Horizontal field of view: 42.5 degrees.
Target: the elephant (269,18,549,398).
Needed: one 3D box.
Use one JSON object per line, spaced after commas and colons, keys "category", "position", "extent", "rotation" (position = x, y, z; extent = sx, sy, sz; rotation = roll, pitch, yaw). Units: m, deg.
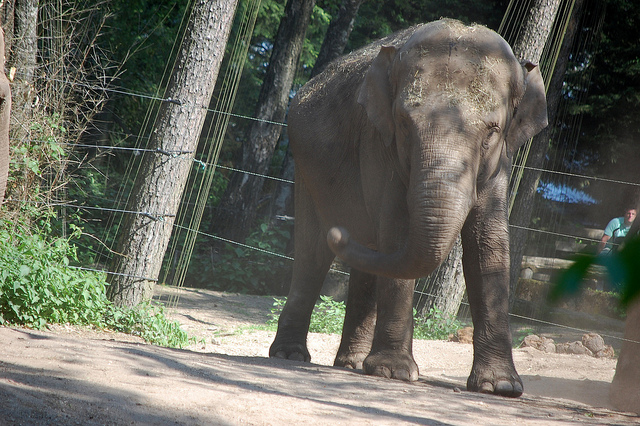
{"category": "elephant", "position": [0.677, -0.086, 8.859], "extent": [2.269, 3.867, 4.295], "rotation": [-1, 0, -28]}
